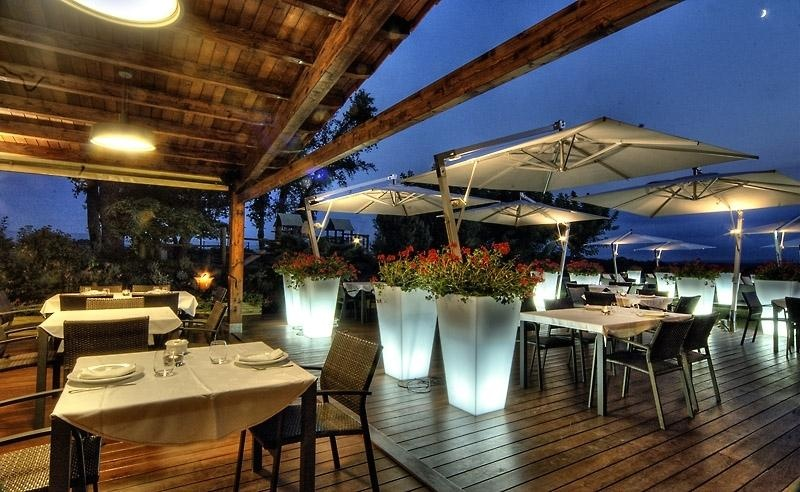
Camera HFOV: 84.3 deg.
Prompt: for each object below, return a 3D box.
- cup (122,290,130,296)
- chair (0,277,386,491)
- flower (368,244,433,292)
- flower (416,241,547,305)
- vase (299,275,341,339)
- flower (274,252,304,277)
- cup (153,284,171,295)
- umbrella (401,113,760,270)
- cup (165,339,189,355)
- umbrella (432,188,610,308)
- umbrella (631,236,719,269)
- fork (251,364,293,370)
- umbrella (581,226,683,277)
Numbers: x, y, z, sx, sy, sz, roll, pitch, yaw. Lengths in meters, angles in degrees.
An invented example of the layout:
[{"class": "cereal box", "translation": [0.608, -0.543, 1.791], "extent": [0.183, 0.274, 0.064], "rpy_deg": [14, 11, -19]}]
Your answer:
[{"class": "cup", "translation": [-5.193, 0.878, 8.363], "extent": [0.123, 0.057, 0.154], "rpy_deg": [4, -3, -37]}, {"class": "chair", "translation": [-1.877, 1.755, 4.398], "extent": [3.338, 1.625, 1.110], "rpy_deg": [0, -2, -3]}, {"class": "flower", "translation": [0.148, 0.339, 6.718], "extent": [0.827, 0.527, 0.699], "rpy_deg": [0, 2, -37]}, {"class": "flower", "translation": [0.984, 0.377, 5.932], "extent": [1.046, 0.489, 1.124], "rpy_deg": [0, -1, 41]}, {"class": "vase", "translation": [-1.702, 1.358, 9.236], "extent": [1.017, 1.006, 0.951], "rpy_deg": [-10, -28, 8]}, {"class": "flower", "translation": [-2.598, 0.420, 10.272], "extent": [0.768, 0.405, 0.736], "rpy_deg": [-9, 5, -41]}, {"class": "cup", "translation": [-4.407, 0.794, 8.161], "extent": [0.216, 0.127, 0.214], "rpy_deg": [1, -3, 0]}, {"class": "umbrella", "translation": [2.552, -0.740, 6.834], "extent": [3.821, 1.799, 2.406], "rpy_deg": [-1, -2, 12]}, {"class": "cup", "translation": [-2.240, 1.002, 4.453], "extent": [0.174, 0.069, 0.200], "rpy_deg": [-1, -5, 14]}, {"class": "umbrella", "translation": [3.375, -0.060, 11.927], "extent": [3.766, 2.830, 4.083], "rpy_deg": [8, -8, -11]}, {"class": "umbrella", "translation": [9.805, 0.010, 16.003], "extent": [1.926, 0.573, 2.063], "rpy_deg": [-4, 1, 13]}, {"class": "fork", "translation": [-1.318, 1.225, 4.471], "extent": [0.369, 0.039, 0.037], "rpy_deg": [-2, 7, -21]}, {"class": "umbrella", "translation": [8.197, 0.653, 15.878], "extent": [2.891, 1.766, 2.060], "rpy_deg": [-1, -5, 7]}]
